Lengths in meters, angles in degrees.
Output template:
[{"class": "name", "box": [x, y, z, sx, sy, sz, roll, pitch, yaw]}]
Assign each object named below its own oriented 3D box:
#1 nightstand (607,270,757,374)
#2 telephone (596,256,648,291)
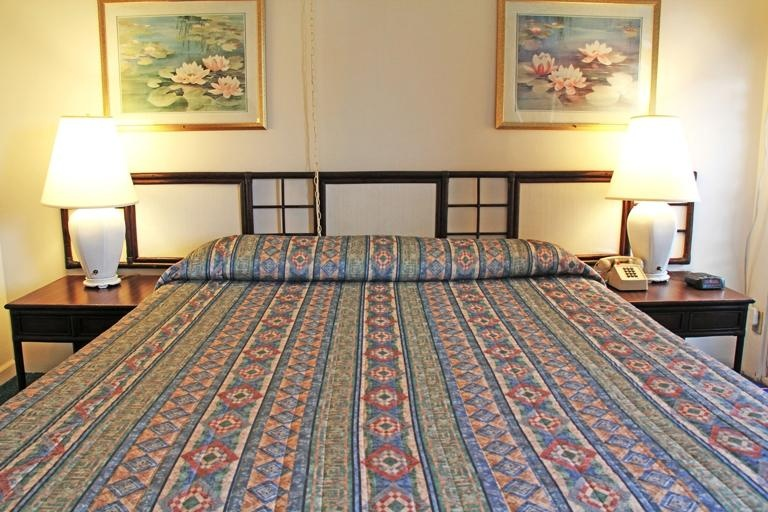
[{"class": "nightstand", "box": [1.559, 0.276, 2.842, 0.690, 0.527, 0.469, -1, 20, 1]}, {"class": "telephone", "box": [1.287, 0.074, 2.818, 0.271, 0.112, 0.228, -5, 22, -13]}]
